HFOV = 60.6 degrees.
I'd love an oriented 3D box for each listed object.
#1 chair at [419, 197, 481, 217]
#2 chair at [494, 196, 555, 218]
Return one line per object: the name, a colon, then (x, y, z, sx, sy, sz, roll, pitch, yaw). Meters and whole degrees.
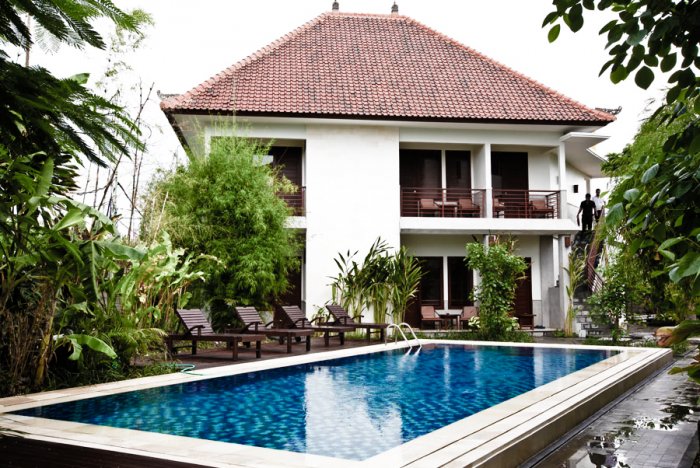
chair: (3.307, -0.870, 19.731, 2.095, 0.635, 1.203, 1, -2, 3)
chair: (5.941, -0.945, 20.318, 2.025, 0.883, 1.564, 0, -2, 16)
